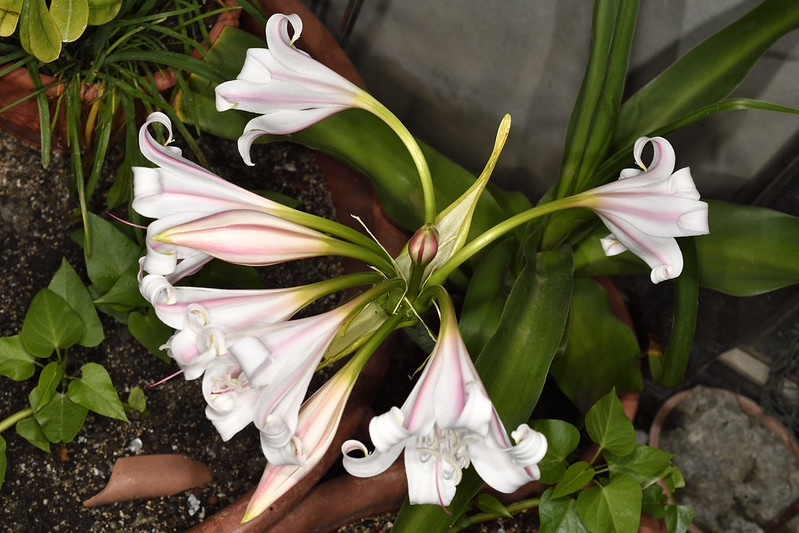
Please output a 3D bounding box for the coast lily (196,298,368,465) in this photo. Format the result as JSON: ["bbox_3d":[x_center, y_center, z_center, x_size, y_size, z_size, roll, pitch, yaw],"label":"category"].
[{"bbox_3d":[-0.157,0.183,1.126,0.266,0.168,0.181,-13,55,-10],"label":"coast lily"}]

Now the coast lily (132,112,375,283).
[{"bbox_3d":[-0.269,-0.074,1.200,0.358,0.245,0.207,-2,71,11],"label":"coast lily"}]
